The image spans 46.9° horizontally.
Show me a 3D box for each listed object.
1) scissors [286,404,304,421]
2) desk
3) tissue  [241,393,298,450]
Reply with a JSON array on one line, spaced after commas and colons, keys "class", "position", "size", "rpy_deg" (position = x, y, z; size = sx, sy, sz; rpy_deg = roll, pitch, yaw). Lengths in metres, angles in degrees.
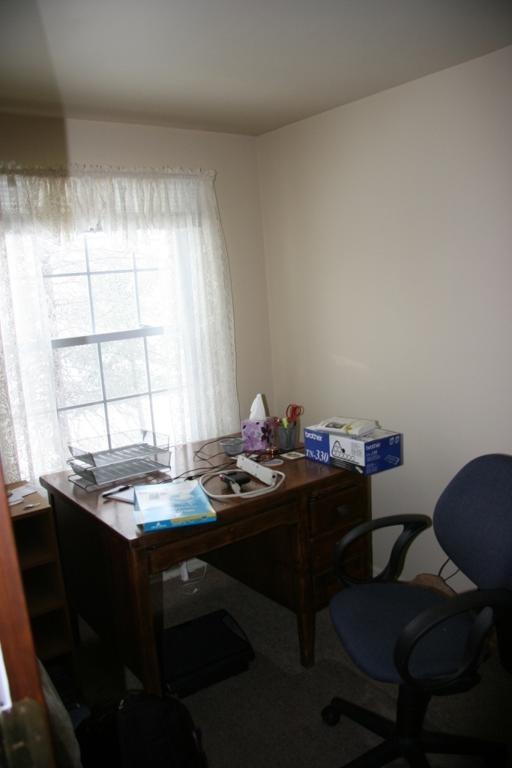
[{"class": "scissors", "position": [0.145, 0.119, 2.226], "size": [0.072, 0.076, 0.020], "rpy_deg": [24, 18, 37]}, {"class": "desk", "position": [-0.143, 0.577, 2.071], "size": [0.879, 0.636, 0.643], "rpy_deg": [-12, 16, -36]}, {"class": "tissue ", "position": [0.064, 0.116, 2.281], "size": [0.199, 0.216, 0.211], "rpy_deg": [2, 9, 15]}]
